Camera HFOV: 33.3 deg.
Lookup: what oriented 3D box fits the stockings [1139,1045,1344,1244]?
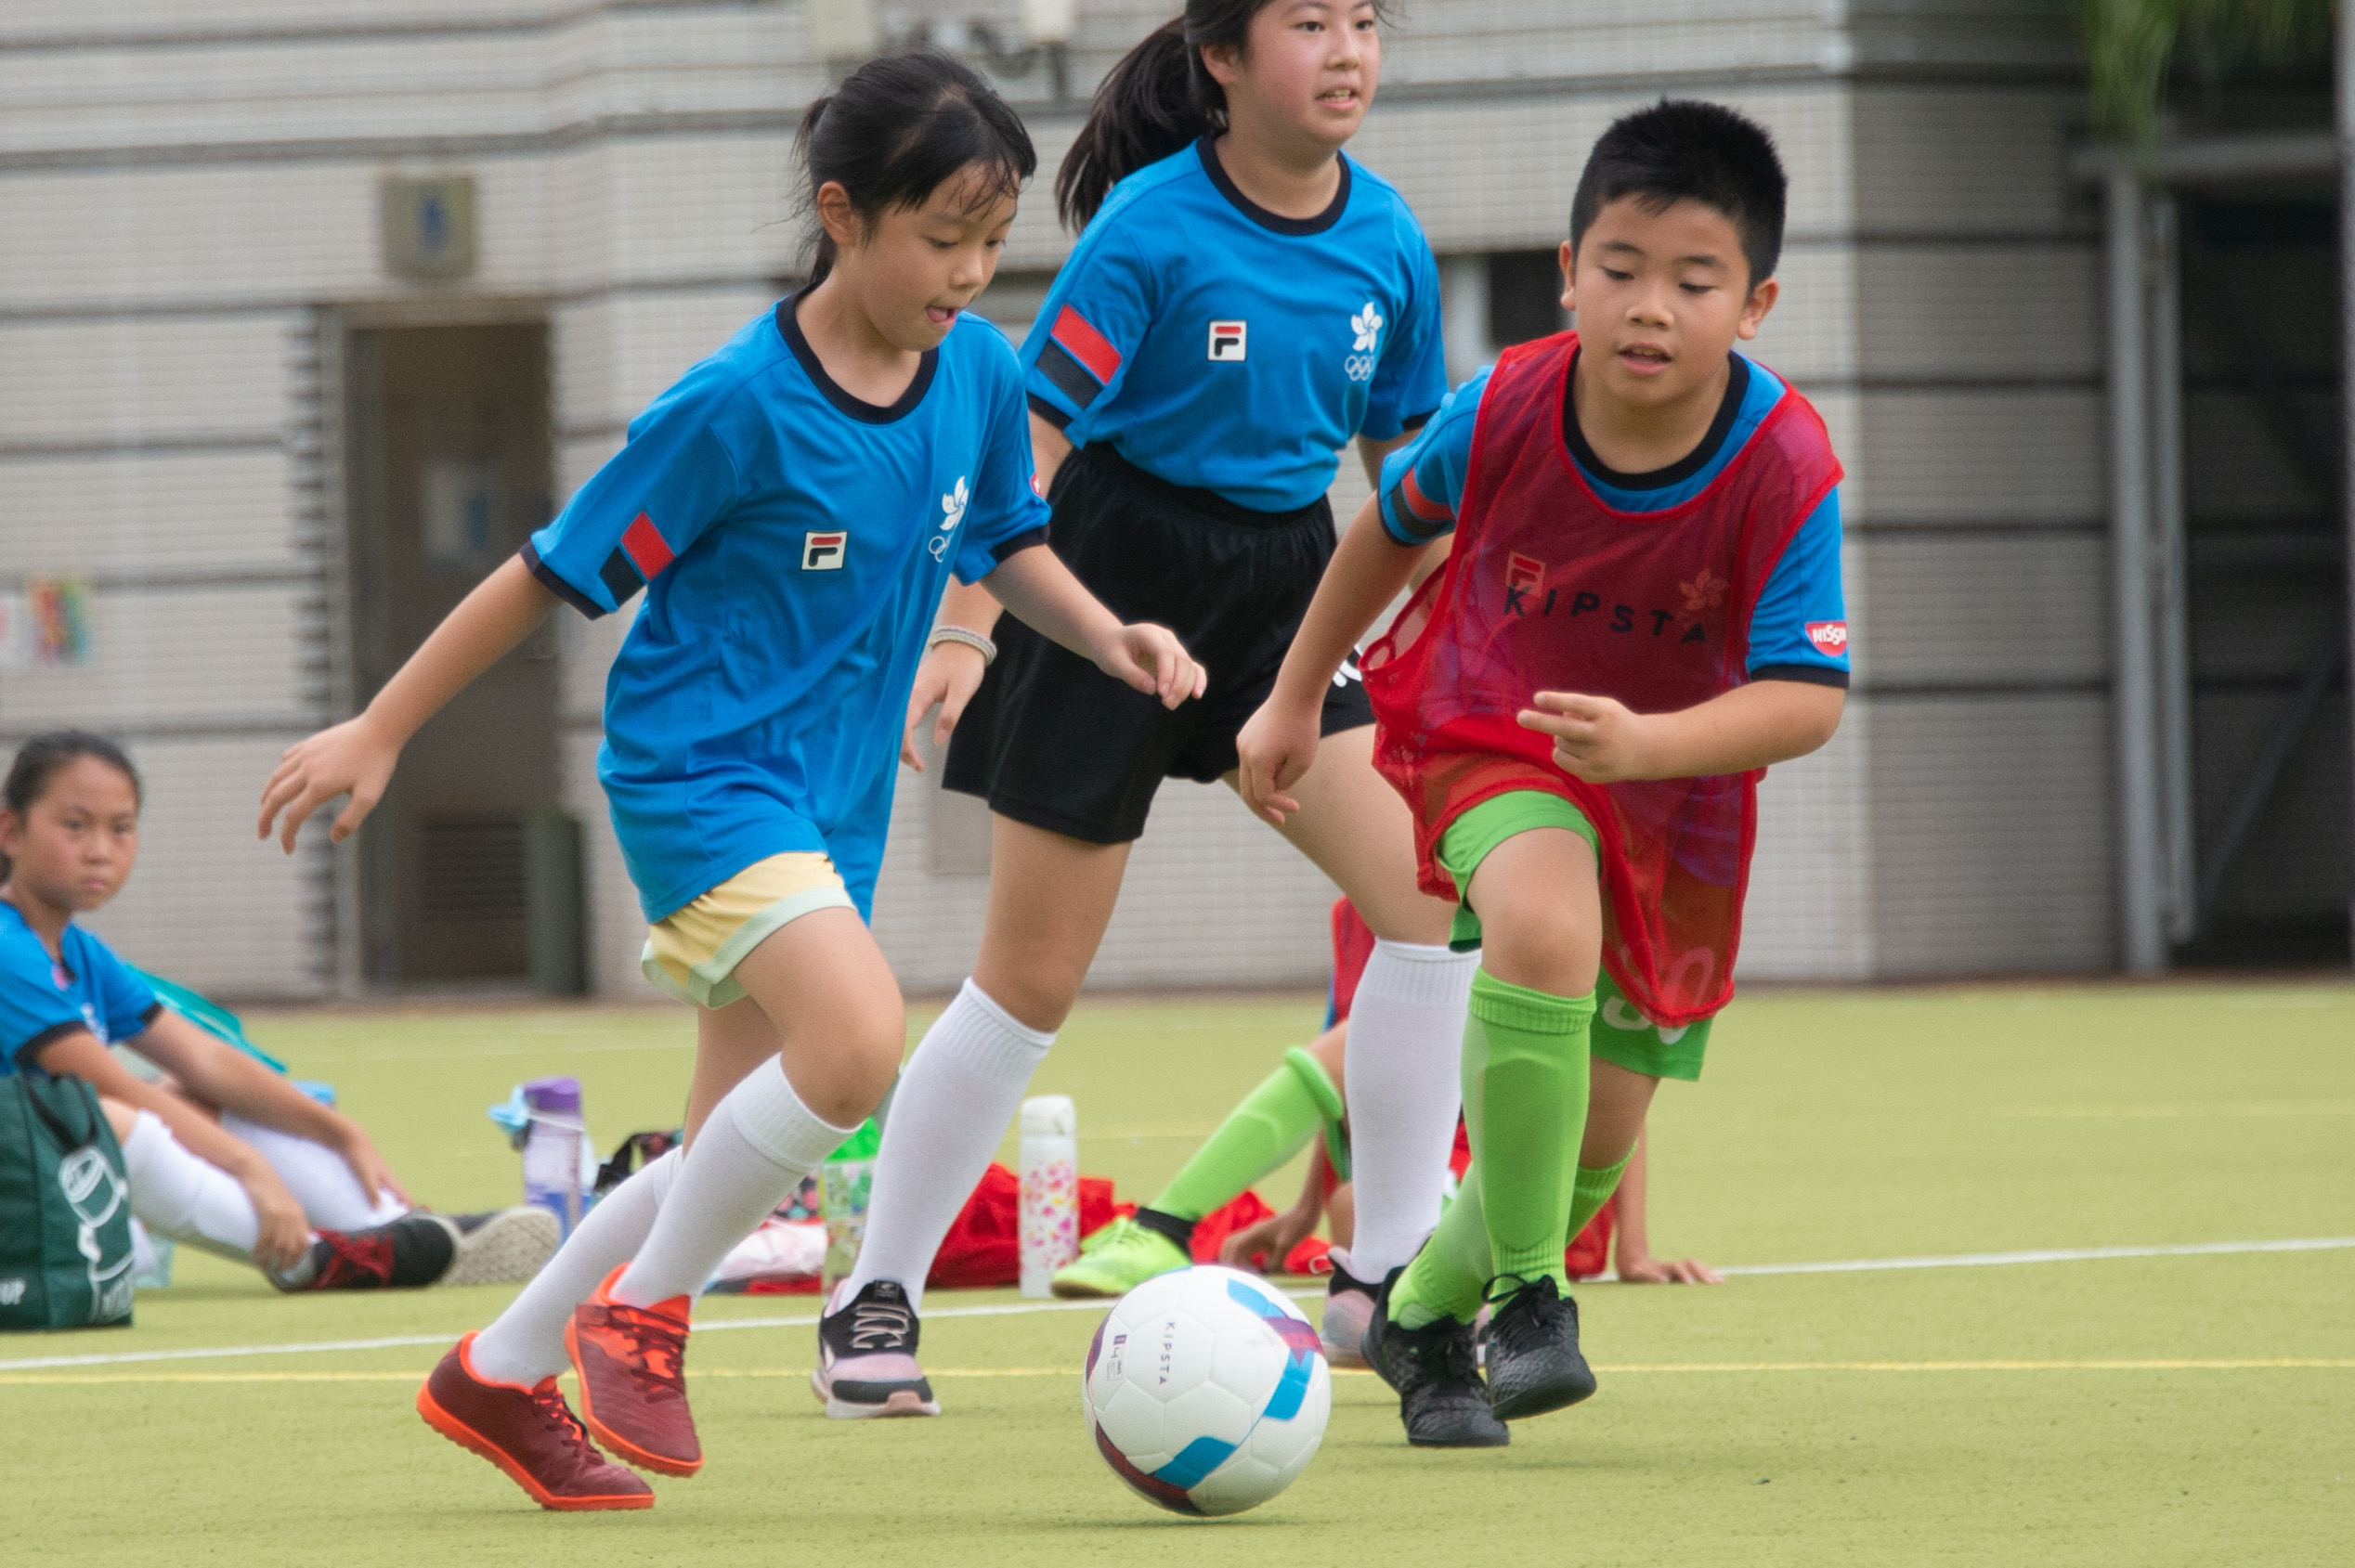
[{"bbox_3d":[0.181,0.938,9.940,0.620,0.159,0.218,-43,-4,4],"label":"stockings"}]

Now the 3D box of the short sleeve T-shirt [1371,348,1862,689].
[{"bbox_3d":[0.876,-0.513,7.901,0.648,0.478,0.348,16,21,19],"label":"short sleeve T-shirt"}]

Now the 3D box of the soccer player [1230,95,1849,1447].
[{"bbox_3d":[0.780,-0.012,7.868,1.091,2.693,0.646,2,2,14],"label":"soccer player"}]

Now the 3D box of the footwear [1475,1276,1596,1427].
[{"bbox_3d":[0.723,1.124,7.738,0.153,0.154,0.344,-15,-12,-7],"label":"footwear"}]

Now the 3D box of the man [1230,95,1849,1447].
[{"bbox_3d":[0.779,-0.012,7.868,1.091,2.693,0.646,2,2,14],"label":"man"}]

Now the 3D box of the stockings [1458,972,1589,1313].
[{"bbox_3d":[0.704,0.690,7.798,0.246,0.643,0.169,1,2,-4],"label":"stockings"}]

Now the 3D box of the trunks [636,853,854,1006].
[{"bbox_3d":[-0.842,0.278,7.760,0.361,0.192,0.279,-28,-17,23],"label":"trunks"}]

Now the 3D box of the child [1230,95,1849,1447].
[{"bbox_3d":[0.779,-0.012,7.868,1.092,2.693,0.647,2,2,14],"label":"child"}]

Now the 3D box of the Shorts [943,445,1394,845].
[{"bbox_3d":[-0.018,-0.305,8.367,0.853,0.643,0.447,5,2,-39],"label":"Shorts"}]

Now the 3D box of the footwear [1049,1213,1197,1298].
[{"bbox_3d":[-0.094,1.105,9.139,0.146,0.152,0.405,-8,-8,36],"label":"footwear"}]

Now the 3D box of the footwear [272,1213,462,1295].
[{"bbox_3d":[-1.947,1.157,9.594,0.347,0.128,0.202,-3,-6,-2],"label":"footwear"}]

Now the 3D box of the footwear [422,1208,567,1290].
[{"bbox_3d":[-1.623,1.132,9.438,0.331,0.162,0.424,-3,-3,-15],"label":"footwear"}]

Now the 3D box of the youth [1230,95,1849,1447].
[{"bbox_3d":[0.778,-0.012,7.868,1.095,2.693,0.646,2,2,14],"label":"youth"}]
